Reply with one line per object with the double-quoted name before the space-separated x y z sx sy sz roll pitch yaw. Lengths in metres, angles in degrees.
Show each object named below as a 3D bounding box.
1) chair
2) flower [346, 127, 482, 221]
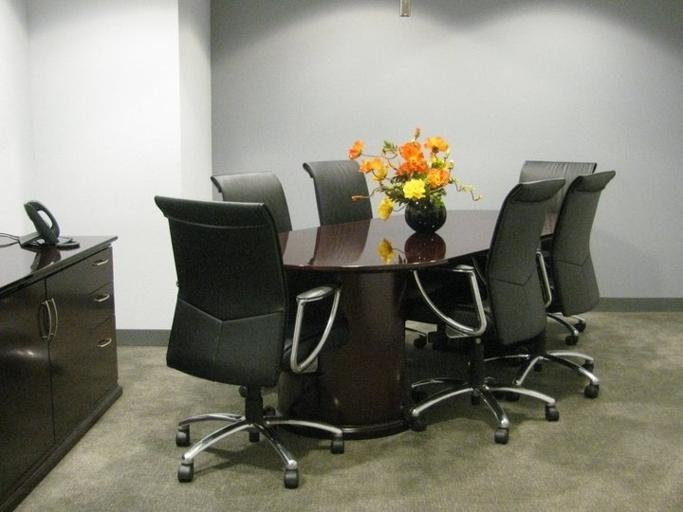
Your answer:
"chair" 0.423 0.239 3.414 2.538 1.383 1.256 -8 15 -33
"flower" 0.445 -0.511 3.890 0.783 0.459 0.812 5 15 19
